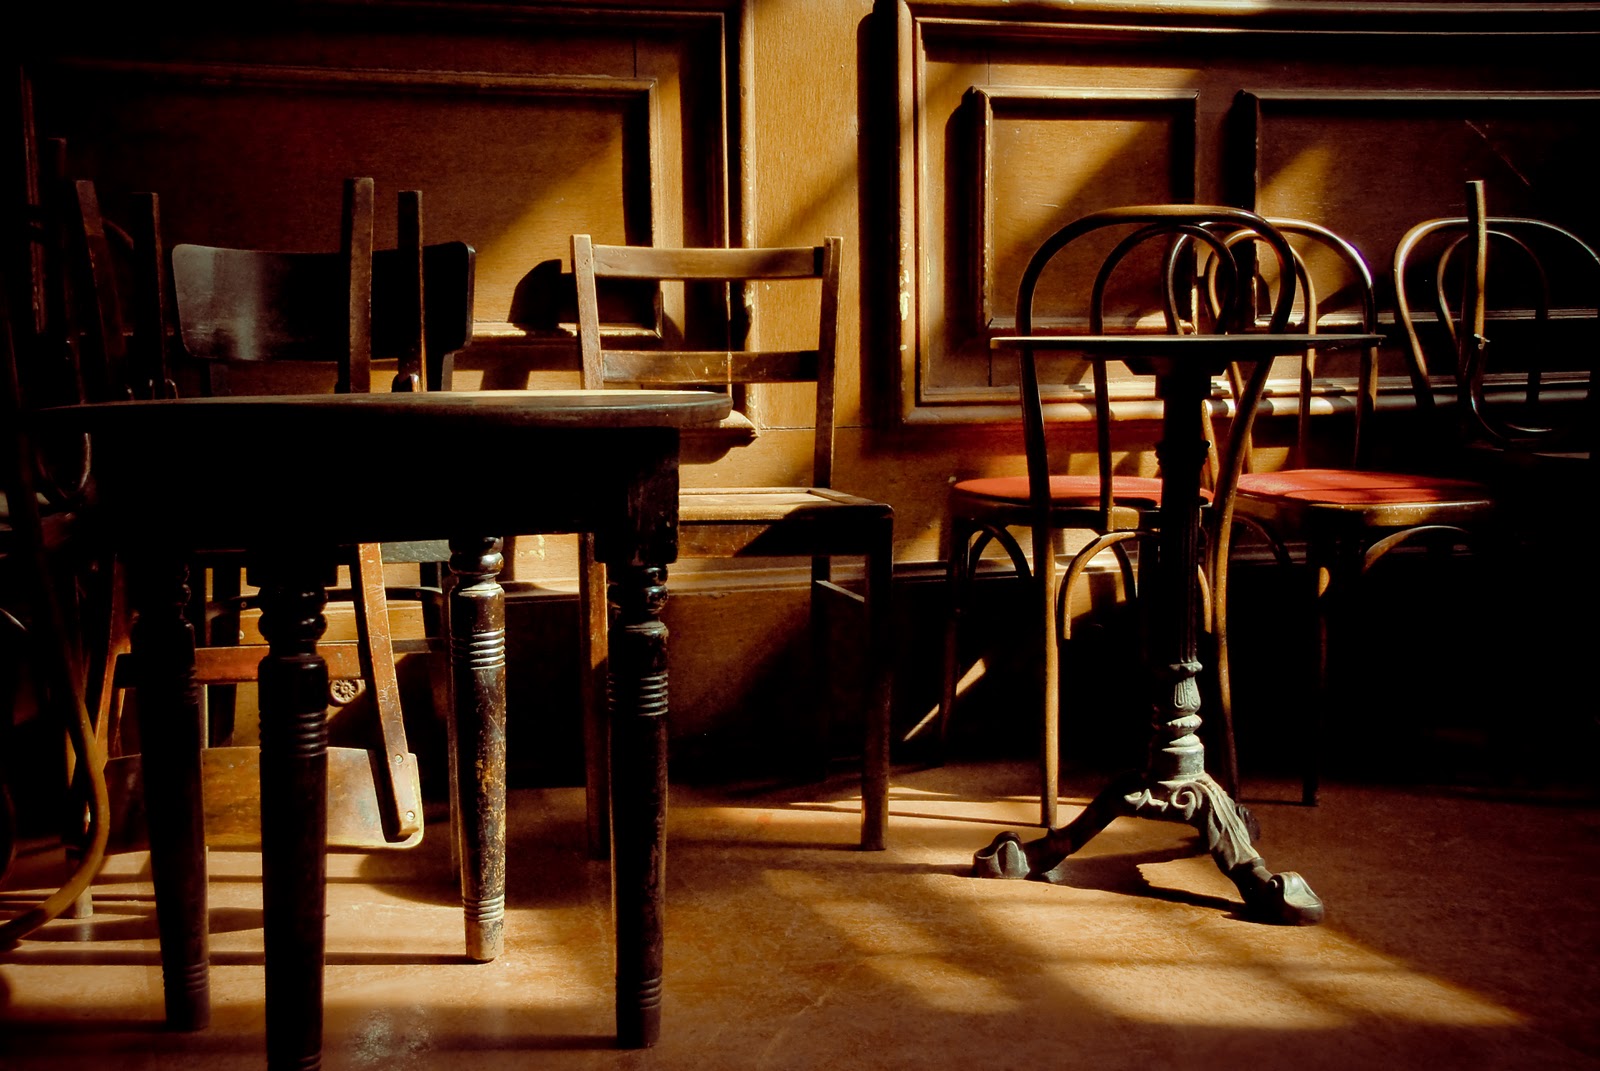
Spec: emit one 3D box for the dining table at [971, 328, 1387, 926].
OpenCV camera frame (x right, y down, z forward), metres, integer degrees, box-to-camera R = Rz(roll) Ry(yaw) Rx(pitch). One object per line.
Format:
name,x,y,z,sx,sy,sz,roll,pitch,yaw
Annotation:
dining table,0.807,0.204,3.615,0.891,0.990,0.877,3,-1,21

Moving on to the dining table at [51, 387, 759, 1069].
dining table,-0.702,0.280,3.355,1.316,1.087,1.224,-2,4,-20

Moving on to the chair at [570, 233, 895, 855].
chair,-0.176,0.004,3.822,0.868,1.208,0.753,-8,20,-29

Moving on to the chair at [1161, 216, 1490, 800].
chair,1.132,-0.049,3.963,0.537,0.856,0.487,4,10,1

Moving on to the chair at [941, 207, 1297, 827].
chair,0.705,-0.064,3.932,0.877,1.239,0.825,1,1,-35
